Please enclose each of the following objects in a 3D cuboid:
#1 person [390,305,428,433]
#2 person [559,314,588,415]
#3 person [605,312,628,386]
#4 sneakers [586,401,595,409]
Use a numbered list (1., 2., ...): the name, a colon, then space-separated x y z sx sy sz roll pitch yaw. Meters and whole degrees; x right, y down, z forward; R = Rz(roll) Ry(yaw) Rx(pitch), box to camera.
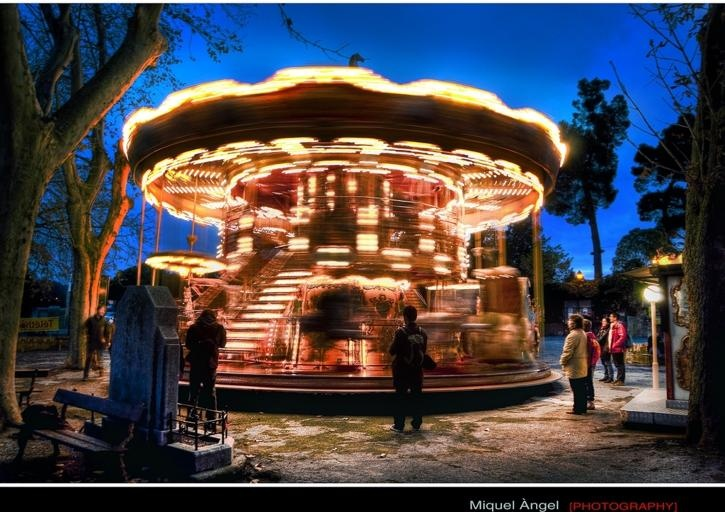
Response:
1. person: 0.843 2.087 10.274 0.710 2.209 0.648 -1 6 -12
2. person: 4.478 2.294 11.769 0.513 2.109 1.016 2 6 22
3. person: 7.264 2.699 15.982 0.538 1.963 0.940 2 6 25
4. sneakers: 4.953 3.259 12.136 0.168 0.170 0.159 -8 -3 -3
